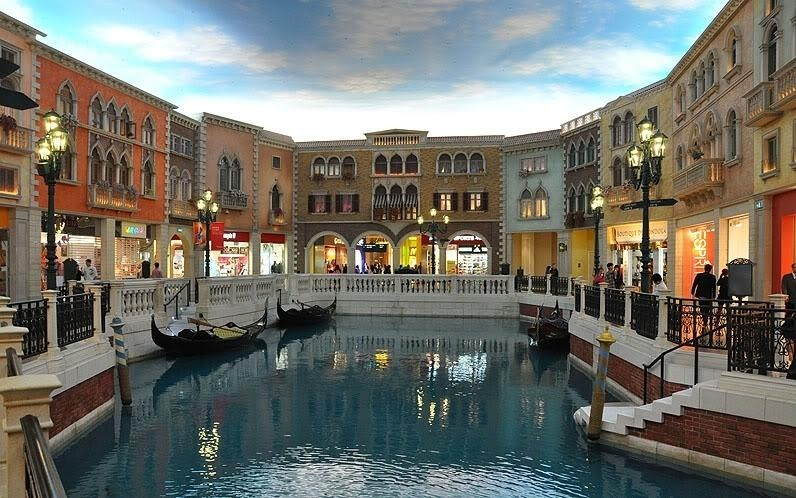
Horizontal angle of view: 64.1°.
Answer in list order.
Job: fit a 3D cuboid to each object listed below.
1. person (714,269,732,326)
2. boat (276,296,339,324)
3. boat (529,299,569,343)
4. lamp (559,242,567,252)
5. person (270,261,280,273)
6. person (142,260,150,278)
[{"bbox_3d":[10.808,1.481,20.894,0.569,1.808,0.552,2,13,28],"label":"person"},{"bbox_3d":[-4.722,3.104,32.461,1.112,1.711,3.973,5,8,28],"label":"boat"},{"bbox_3d":[6.486,3.412,26.856,1.482,1.477,1.474,2,7,9],"label":"boat"},{"bbox_3d":[12.031,-0.195,45.420,0.617,0.859,0.607,-1,0,-16],"label":"lamp"},{"bbox_3d":[-9.552,1.289,49.726,0.383,0.845,1.112,3,7,20],"label":"person"},{"bbox_3d":[-13.335,0.987,33.459,0.394,0.951,1.543,-2,7,-22],"label":"person"}]
